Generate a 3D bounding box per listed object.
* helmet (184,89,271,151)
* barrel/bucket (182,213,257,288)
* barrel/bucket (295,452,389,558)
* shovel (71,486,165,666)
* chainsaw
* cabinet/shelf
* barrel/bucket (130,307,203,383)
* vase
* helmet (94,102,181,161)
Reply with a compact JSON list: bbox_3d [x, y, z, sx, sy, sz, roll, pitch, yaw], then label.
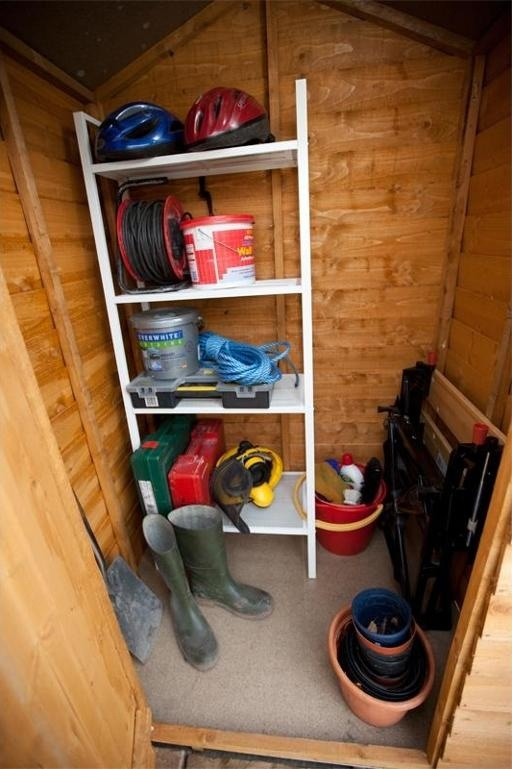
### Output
[{"bbox_3d":[-0.048,-0.770,1.686,0.298,0.195,0.252,10,18,12],"label":"helmet"},{"bbox_3d":[-0.107,-0.418,1.710,0.221,0.227,0.122,-9,22,-7],"label":"barrel/bucket"},{"bbox_3d":[0.321,0.499,2.141,0.374,0.290,0.391,-4,29,2],"label":"barrel/bucket"},{"bbox_3d":[-0.438,0.672,1.828,0.117,0.580,0.300,-24,1,24],"label":"shovel"},{"bbox_3d":[-0.006,0.360,2.123,0.275,0.300,0.168,8,-27,-28],"label":"chainsaw"},{"bbox_3d":[-0.111,0.031,2.178,0.763,2.110,0.576,-2,23,4],"label":"cabinet/shelf"},{"bbox_3d":[-0.309,-0.153,1.887,0.218,0.213,0.219,-2,24,1],"label":"barrel/bucket"},{"bbox_3d":[0.345,0.782,1.518,0.281,0.321,0.274,-1,22,14],"label":"vase"},{"bbox_3d":[-0.339,-0.740,1.586,0.266,0.149,0.115,-12,22,-13],"label":"helmet"}]
